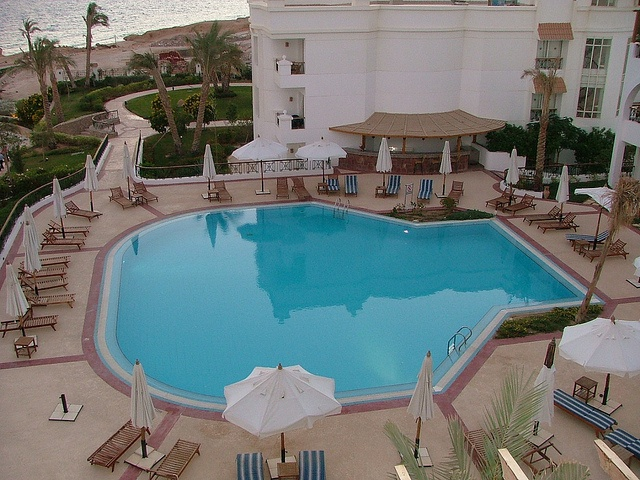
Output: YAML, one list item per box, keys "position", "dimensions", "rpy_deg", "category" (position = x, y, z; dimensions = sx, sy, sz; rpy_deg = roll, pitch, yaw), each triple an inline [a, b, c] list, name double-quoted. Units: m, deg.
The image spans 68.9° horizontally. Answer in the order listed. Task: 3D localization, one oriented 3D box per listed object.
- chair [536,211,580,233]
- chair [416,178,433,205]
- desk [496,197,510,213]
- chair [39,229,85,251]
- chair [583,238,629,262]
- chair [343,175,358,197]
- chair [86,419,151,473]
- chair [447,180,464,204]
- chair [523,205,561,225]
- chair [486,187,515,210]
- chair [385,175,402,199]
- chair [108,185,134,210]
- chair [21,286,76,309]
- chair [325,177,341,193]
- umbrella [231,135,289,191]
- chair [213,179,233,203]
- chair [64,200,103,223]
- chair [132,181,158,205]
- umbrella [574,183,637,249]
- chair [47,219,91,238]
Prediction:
- position: [13.000, -0.900, 25.449]
  dimensions: [2.017, 0.887, 1.038]
  rpy_deg: [-3, 30, 5]
  category: "chair"
- position: [6.571, -3.086, 29.167]
  dimensions: [0.858, 0.929, 1.535]
  rpy_deg: [5, 59, 11]
  category: "chair"
- position: [10.906, -2.097, 27.763]
  dimensions: [0.486, 0.870, 0.464]
  rpy_deg: [-18, 37, -20]
  category: "desk"
- position: [-13.114, -0.027, 23.774]
  dimensions: [1.929, 0.905, 1.245]
  rpy_deg: [-4, 35, -8]
  category: "chair"
- position: [14.071, 0.544, 22.857]
  dimensions: [2.219, 0.986, 1.049]
  rpy_deg: [-4, 46, 10]
  category: "chair"
- position: [2.048, -3.467, 30.073]
  dimensions: [0.708, 0.800, 1.290]
  rpy_deg: [-1, 58, 1]
  category: "chair"
- position: [-5.449, 5.726, 12.863]
  dimensions: [0.752, 0.463, 1.937]
  rpy_deg: [25, 43, 14]
  category: "chair"
- position: [8.576, -2.910, 29.538]
  dimensions: [0.780, 0.879, 2.107]
  rpy_deg: [8, 37, 21]
  category: "chair"
- position: [12.545, -1.229, 26.249]
  dimensions: [2.123, 0.928, 0.935]
  rpy_deg: [-5, 31, 2]
  category: "chair"
- position: [11.003, -2.491, 28.136]
  dimensions: [1.906, 1.056, 1.033]
  rpy_deg: [-28, 38, -34]
  category: "chair"
- position: [4.793, -3.418, 30.331]
  dimensions: [0.772, 0.797, 1.475]
  rpy_deg: [4, 55, 12]
  category: "chair"
- position: [-12.228, -2.464, 28.623]
  dimensions: [0.861, 0.948, 2.399]
  rpy_deg: [-16, 40, -28]
  category: "chair"
- position: [-11.158, 2.717, 19.292]
  dimensions: [1.733, 0.831, 0.999]
  rpy_deg: [-5, 26, -15]
  category: "chair"
- position: [0.854, -3.611, 30.550]
  dimensions: [0.815, 0.884, 0.870]
  rpy_deg: [-1, 25, -6]
  category: "chair"
- position: [-3.927, -4.747, 30.530]
  dimensions: [3.605, 3.647, 3.829]
  rpy_deg: [1, 30, 5]
  category: "umbrella"
- position: [-6.150, -3.044, 29.508]
  dimensions: [0.701, 0.762, 1.890]
  rpy_deg: [-7, 45, -18]
  category: "chair"
- position: [-13.768, -1.366, 26.828]
  dimensions: [2.242, 0.918, 1.111]
  rpy_deg: [15, 31, 14]
  category: "chair"
- position: [-11.149, -3.049, 29.223]
  dimensions: [1.030, 1.076, 1.925]
  rpy_deg: [-19, 45, -37]
  category: "chair"
- position: [13.545, -0.975, 22.135]
  dimensions: [2.466, 2.900, 2.541]
  rpy_deg: [-7, 28, -11]
  category: "umbrella"
- position: [-13.365, -0.419, 24.548]
  dimensions: [1.952, 0.840, 0.992]
  rpy_deg: [-3, 32, -11]
  category: "chair"
